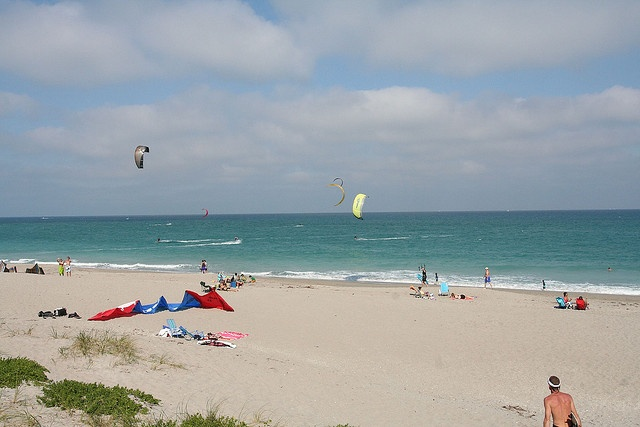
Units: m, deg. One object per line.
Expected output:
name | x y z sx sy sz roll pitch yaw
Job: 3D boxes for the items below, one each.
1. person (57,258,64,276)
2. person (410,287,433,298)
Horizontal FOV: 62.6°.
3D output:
person | -17.725 3.617 36.027 0.318 1.122 1.525 0 1 -27
person | 6.166 4.863 31.910 1.114 0.613 0.569 -1 11 30
